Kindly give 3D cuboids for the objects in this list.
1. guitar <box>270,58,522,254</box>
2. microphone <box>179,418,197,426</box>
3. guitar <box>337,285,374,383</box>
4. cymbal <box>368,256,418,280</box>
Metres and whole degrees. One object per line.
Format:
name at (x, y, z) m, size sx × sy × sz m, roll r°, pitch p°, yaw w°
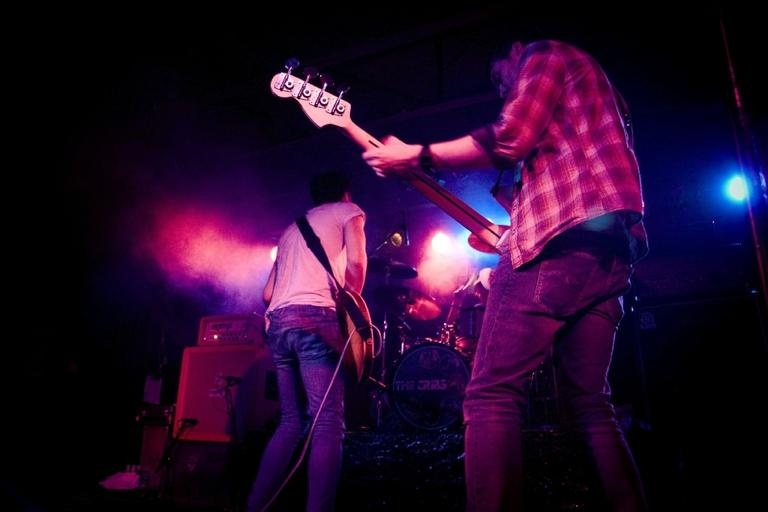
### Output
guitar at (0.074, -1.155, 6.207) m, size 2.922 × 0.386 × 0.305 m, roll 42°, pitch -57°, yaw 3°
microphone at (-1.946, 1.638, 5.826) m, size 0.155 × 0.084 × 0.095 m, roll 11°, pitch -27°, yaw -16°
guitar at (-0.234, 0.628, 4.756) m, size 0.156 × 0.660 × 0.468 m, roll -9°, pitch -29°, yaw -11°
cymbal at (0.070, 0.161, 7.680) m, size 0.370 × 0.102 × 0.431 m, roll 15°, pitch -12°, yaw -1°
